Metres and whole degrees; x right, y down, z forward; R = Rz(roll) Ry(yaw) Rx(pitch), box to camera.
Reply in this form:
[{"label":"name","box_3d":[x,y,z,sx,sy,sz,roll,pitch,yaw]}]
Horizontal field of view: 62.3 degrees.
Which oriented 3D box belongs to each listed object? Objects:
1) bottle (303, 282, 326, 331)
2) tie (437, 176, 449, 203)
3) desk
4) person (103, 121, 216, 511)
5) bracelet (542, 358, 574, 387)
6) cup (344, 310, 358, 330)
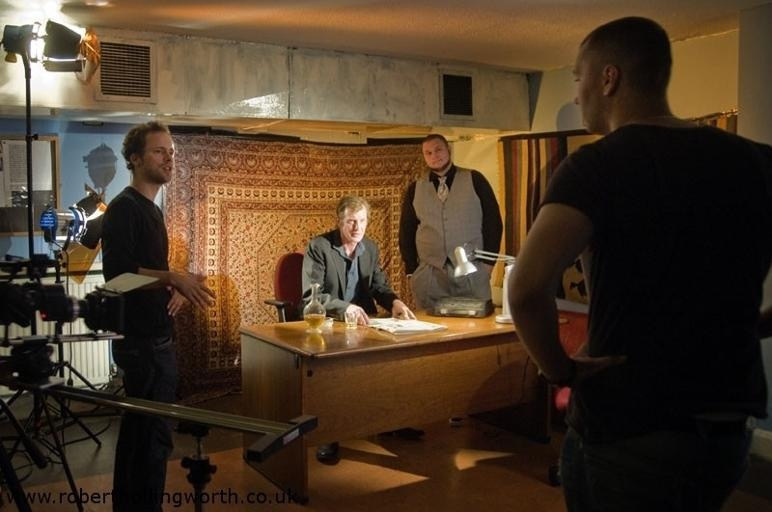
[{"label":"bottle","box_3d":[-0.424,0.281,3.849,0.120,0.309,0.471,0,8,-6]},{"label":"tie","box_3d":[0.436,-0.517,4.926,0.088,0.190,0.044,2,8,8]},{"label":"desk","box_3d":[0.113,0.834,4.141,1.840,0.796,0.924,1,6,-33]},{"label":"person","box_3d":[-1.130,0.380,3.170,0.477,2.083,0.968,-3,9,-23]},{"label":"bracelet","box_3d":[0.497,0.328,1.827,0.088,0.067,0.067,-22,9,-15]},{"label":"cup","box_3d":[-0.212,0.408,3.932,0.090,0.097,0.090,-2,-3,0]}]
